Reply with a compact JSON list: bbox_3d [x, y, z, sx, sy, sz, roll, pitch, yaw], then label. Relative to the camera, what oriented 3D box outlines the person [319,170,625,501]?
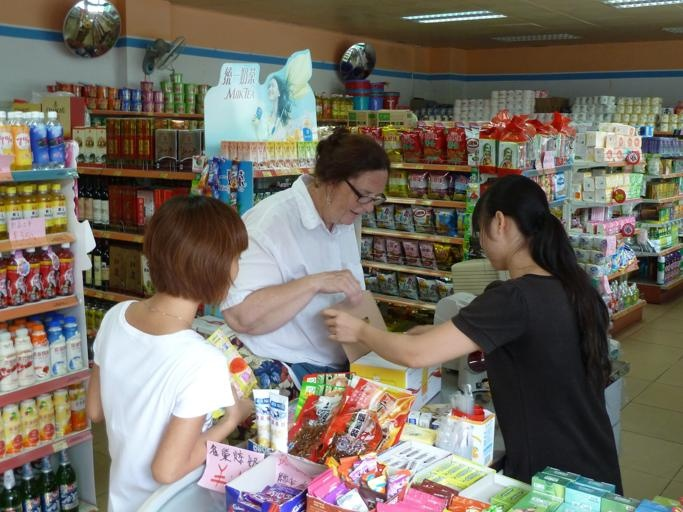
[{"bbox_3d":[0.561,0.296,1.761,0.863,1.146,0.405,-4,12,-7],"label":"person"}]

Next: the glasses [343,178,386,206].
[{"bbox_3d":[0.091,-0.248,2.058,0.117,0.034,0.117,49,27,19],"label":"glasses"}]

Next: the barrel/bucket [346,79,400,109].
[{"bbox_3d":[0.777,-4.127,12.433,0.849,0.477,1.231,9,13,42],"label":"barrel/bucket"}]

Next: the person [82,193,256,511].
[{"bbox_3d":[-0.491,0.323,1.401,0.503,0.978,0.382,-6,12,-13],"label":"person"}]

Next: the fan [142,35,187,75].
[{"bbox_3d":[-3.216,-3.662,8.893,0.619,0.687,0.531,10,22,-3],"label":"fan"}]
